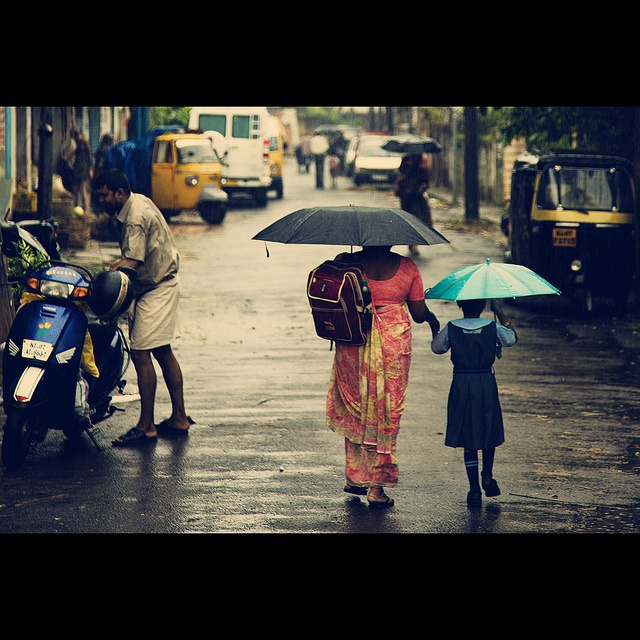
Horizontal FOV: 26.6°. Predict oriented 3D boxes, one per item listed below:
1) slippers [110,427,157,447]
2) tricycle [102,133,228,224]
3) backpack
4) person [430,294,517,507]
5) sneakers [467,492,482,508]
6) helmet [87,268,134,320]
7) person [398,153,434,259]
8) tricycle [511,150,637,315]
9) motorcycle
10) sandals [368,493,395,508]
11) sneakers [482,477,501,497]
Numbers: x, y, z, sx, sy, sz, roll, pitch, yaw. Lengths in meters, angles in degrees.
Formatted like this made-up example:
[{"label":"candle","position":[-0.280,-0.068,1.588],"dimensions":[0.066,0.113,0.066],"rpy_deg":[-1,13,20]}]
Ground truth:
[{"label":"slippers","position":[-1.282,0.796,9.396],"dimensions":[0.286,0.107,0.121],"rpy_deg":[-1,1,-27]},{"label":"tricycle","position":[-1.983,-1.925,17.873],"dimensions":[1.883,1.331,1.016],"rpy_deg":[8,10,40]},{"label":"backpack","position":[0.134,-0.102,8.165],"dimensions":[0.377,0.455,0.172],"rpy_deg":[1,11,3]},{"label":"person","position":[0.960,0.528,8.370],"dimensions":[0.526,1.364,0.398],"rpy_deg":[-1,11,-4]},{"label":"sneakers","position":[0.979,1.128,8.506],"dimensions":[0.076,0.133,0.062],"rpy_deg":[8,12,20]},{"label":"helmet","position":[-1.321,-0.171,8.829],"dimensions":[0.218,0.284,0.322],"rpy_deg":[22,63,16]},{"label":"person","position":[1.184,-1.556,16.687],"dimensions":[0.377,1.600,0.412],"rpy_deg":[8,29,17]},{"label":"tricycle","position":[2.641,-1.004,13.687],"dimensions":[0.836,1.281,1.813],"rpy_deg":[0,12,-3]},{"label":"motorcycle","position":[-1.682,0.255,8.878],"dimensions":[1.020,1.333,0.612],"rpy_deg":[-10,15,-40]},{"label":"sandals","position":[0.392,1.138,8.459],"dimensions":[0.145,0.108,0.080],"rpy_deg":[-5,11,-16]},{"label":"sneakers","position":[1.073,1.037,8.429],"dimensions":[0.072,0.078,0.135],"rpy_deg":[-1,6,5]}]
